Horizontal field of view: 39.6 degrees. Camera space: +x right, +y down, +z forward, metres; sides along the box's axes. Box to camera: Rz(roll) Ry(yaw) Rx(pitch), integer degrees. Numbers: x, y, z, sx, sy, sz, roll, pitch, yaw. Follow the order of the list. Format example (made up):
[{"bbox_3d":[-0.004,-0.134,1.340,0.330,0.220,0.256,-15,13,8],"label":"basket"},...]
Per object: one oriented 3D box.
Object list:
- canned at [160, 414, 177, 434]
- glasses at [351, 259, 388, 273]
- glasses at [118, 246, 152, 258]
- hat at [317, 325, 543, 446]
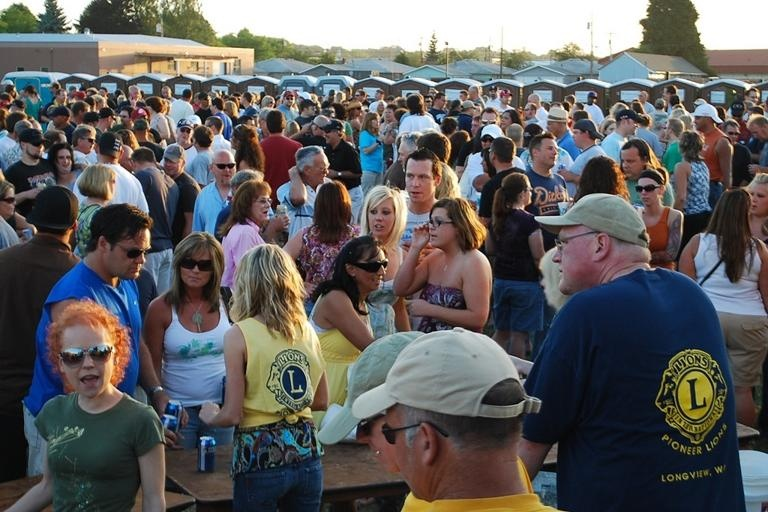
[{"bbox_3d":[-1.645,1.271,8.102,0.117,0.209,0.118,2,7,-1],"label":"canned"},{"bbox_3d":[-0.099,0.072,8.569,0.312,0.099,0.081,-1,4,-30],"label":"glasses"},{"bbox_3d":[-1.849,-0.034,7.885,0.052,0.079,0.202,5,6,45],"label":"glasses"},{"bbox_3d":[0.248,0.714,6.144,1.112,0.601,0.720,-3,-12,24],"label":"hat"}]
